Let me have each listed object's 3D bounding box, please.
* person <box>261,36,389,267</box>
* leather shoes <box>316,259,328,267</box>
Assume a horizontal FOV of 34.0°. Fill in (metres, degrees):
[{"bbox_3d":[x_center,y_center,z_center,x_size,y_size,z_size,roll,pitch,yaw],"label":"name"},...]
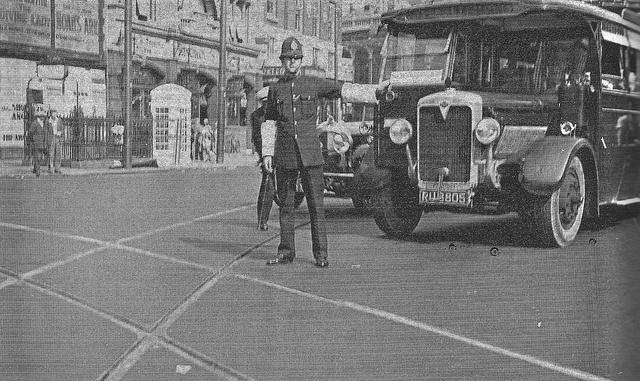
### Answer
[{"bbox_3d":[-0.322,-0.646,17.179,1.363,3.661,0.970,-1,11,-1],"label":"person"},{"bbox_3d":[0.010,1.152,17.060,0.210,0.121,0.181,-4,12,-10],"label":"leather shoes"}]
